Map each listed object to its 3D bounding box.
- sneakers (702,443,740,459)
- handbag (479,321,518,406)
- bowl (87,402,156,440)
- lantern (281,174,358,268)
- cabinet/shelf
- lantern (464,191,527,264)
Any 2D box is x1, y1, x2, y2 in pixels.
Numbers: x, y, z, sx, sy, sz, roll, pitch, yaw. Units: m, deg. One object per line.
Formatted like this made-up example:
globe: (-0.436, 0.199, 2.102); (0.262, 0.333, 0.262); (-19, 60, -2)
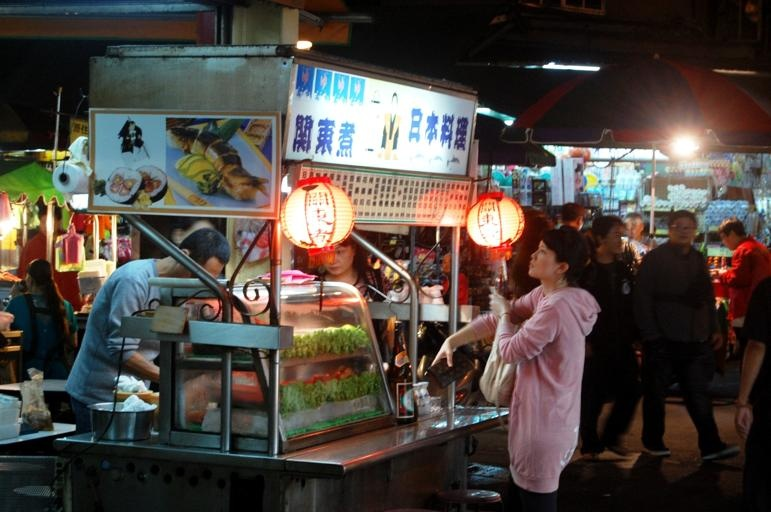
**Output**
sneakers: (3.526, 2.042, 7.697); (0.358, 0.113, 0.162); (-4, 0, -11)
handbag: (0.778, 0.820, 5.083); (0.148, 0.424, 0.277); (-7, 5, -20)
bowl: (-1.758, 1.099, 4.837); (0.436, 0.182, 0.422); (1, -10, 0)
lantern: (-0.446, -0.224, 4.746); (0.478, 0.537, 0.491); (-7, -2, 35)
cabinet/shelf: (-0.702, 0.755, 5.229); (0.851, 0.982, 1.500); (-2, -2, 23)
lantern: (0.872, -0.237, 6.292); (0.538, 0.587, 0.553); (-1, 0, 0)
